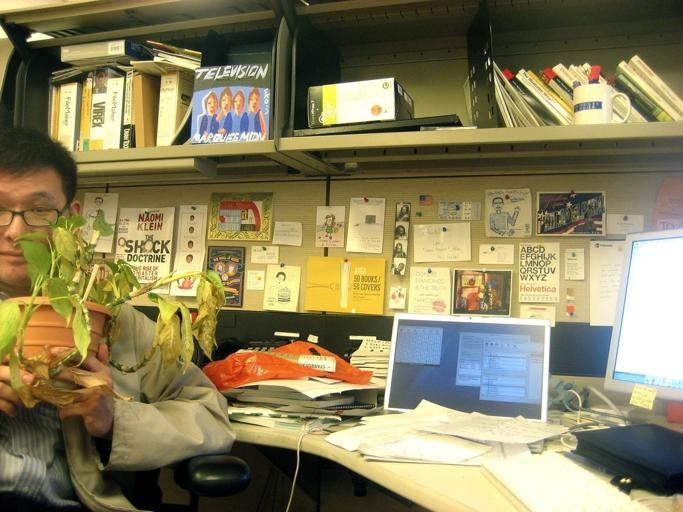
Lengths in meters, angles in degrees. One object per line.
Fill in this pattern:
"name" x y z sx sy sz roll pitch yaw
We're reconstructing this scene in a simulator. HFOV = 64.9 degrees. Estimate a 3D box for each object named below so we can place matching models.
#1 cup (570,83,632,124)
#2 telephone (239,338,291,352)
"cup" 0.671 -0.384 1.381 0.095 0.103 0.147 -10 15 -44
"telephone" -0.247 0.283 1.711 0.175 0.041 0.141 2 -1 4
